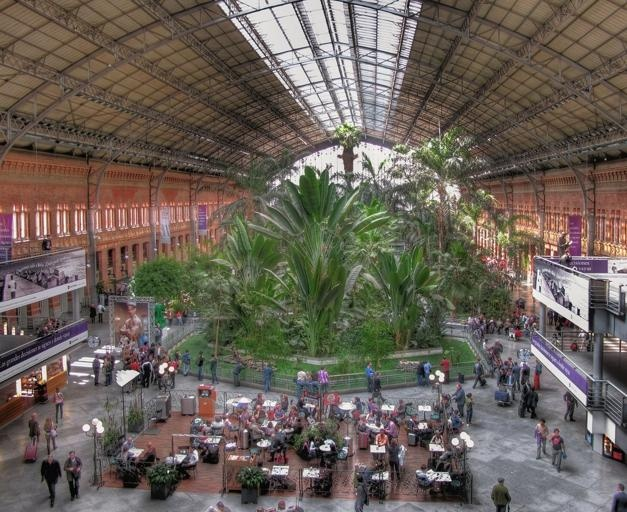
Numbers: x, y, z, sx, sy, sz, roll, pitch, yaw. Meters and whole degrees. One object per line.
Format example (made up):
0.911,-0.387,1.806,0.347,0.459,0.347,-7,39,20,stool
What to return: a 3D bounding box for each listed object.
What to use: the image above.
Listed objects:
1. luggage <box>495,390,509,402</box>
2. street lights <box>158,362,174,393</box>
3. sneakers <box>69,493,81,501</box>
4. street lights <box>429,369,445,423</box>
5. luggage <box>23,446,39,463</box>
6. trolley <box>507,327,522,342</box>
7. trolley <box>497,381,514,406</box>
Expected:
7.783,5.804,20.847,0.479,0.478,0.276,-1,0,15,luggage
-6.562,5.270,21.980,0.943,0.995,1.537,0,3,-14,street lights
-6.451,6.501,13.620,0.300,0.217,0.105,7,2,4,sneakers
4.812,5.527,19.751,0.353,1.956,0.855,3,-15,5,street lights
-8.963,6.284,15.932,0.402,0.689,0.356,3,-10,-9,luggage
13.216,5.063,32.874,0.575,0.783,1.265,-2,-4,3,trolley
8.009,5.819,21.164,0.540,0.886,0.941,4,14,23,trolley
